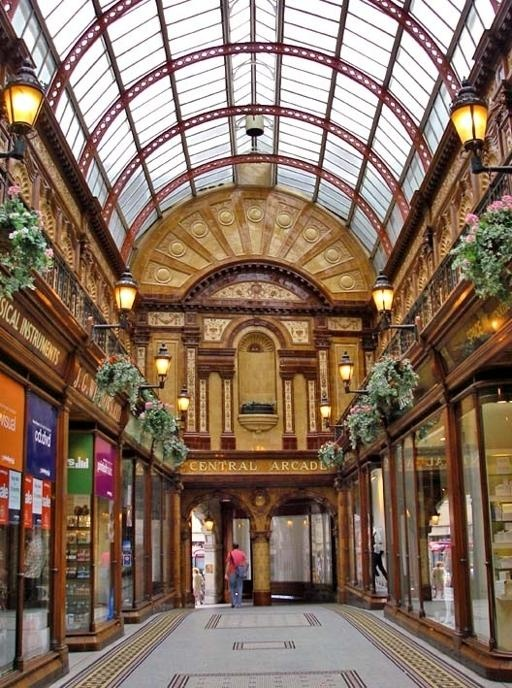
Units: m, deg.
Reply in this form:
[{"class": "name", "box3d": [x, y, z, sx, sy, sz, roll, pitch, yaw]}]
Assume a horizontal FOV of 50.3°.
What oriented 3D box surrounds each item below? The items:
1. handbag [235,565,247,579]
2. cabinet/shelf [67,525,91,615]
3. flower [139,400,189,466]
[{"class": "handbag", "box3d": [-0.547, 8.322, 19.885, 0.256, 0.429, 0.946, -7, -21, 8]}, {"class": "cabinet/shelf", "box3d": [-2.876, 3.693, 8.737, 0.203, 1.363, 0.525, -12, -22, 21]}, {"class": "flower", "box3d": [-2.856, 2.482, 16.194, 0.925, 1.287, 2.977, -20, 10, -7]}]
